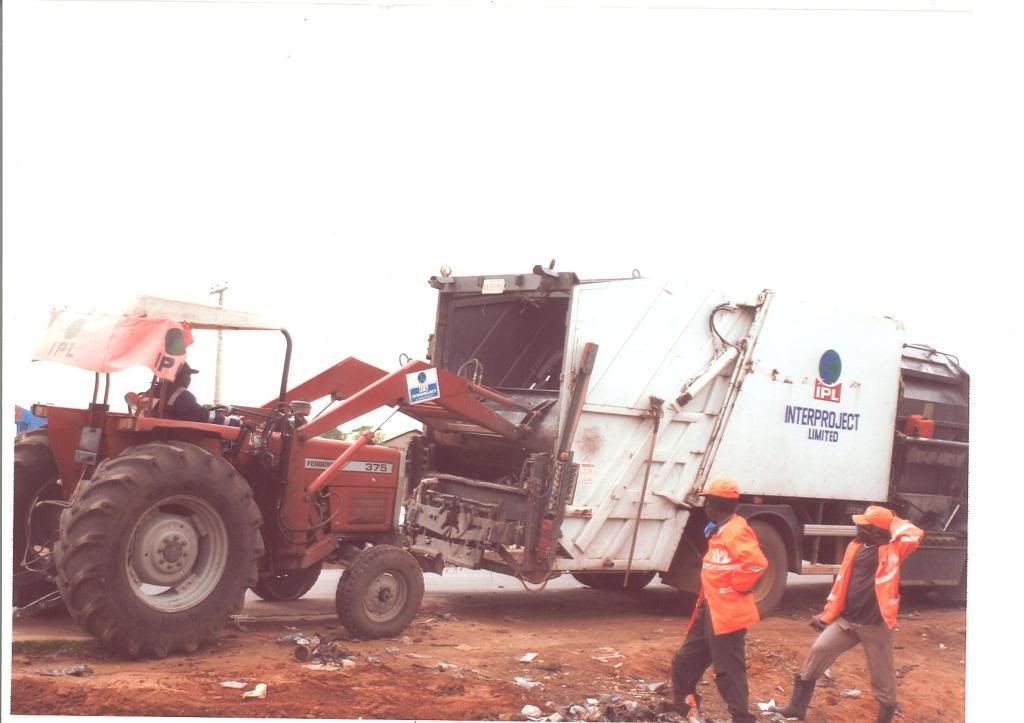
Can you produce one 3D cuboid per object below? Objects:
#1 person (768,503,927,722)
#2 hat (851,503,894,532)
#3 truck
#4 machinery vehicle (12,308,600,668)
[{"bbox_3d":[2.796,2.072,6.597,0.857,1.806,0.365,3,-3,24],"label":"person"},{"bbox_3d":[2.923,1.276,6.647,0.345,0.145,0.247,3,1,32],"label":"hat"},{"bbox_3d":[2.438,1.067,10.782,6.843,3.175,3.858,2,-3,-25],"label":"truck"},{"bbox_3d":[-1.802,1.125,8.491,5.344,2.670,3.009,5,-4,-38],"label":"machinery vehicle"}]
